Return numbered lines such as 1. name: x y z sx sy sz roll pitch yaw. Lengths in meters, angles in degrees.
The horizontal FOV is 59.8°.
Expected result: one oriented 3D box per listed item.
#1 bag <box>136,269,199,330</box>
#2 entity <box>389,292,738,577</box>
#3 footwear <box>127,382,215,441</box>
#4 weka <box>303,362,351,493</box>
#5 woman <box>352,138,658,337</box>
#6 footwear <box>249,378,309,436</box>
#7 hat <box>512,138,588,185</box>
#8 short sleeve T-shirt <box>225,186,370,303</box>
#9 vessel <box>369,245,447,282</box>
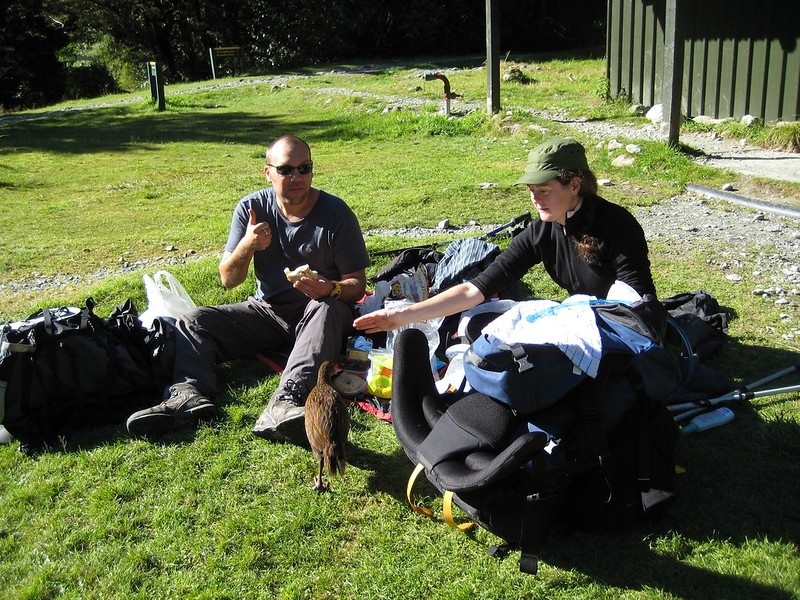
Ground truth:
1. bag: -1.856 0.009 5.556 0.270 0.428 0.418 -37 -10 13
2. entity: 0.869 0.530 3.702 1.496 0.844 1.223 -26 32 -34
3. footwear: -1.511 0.729 4.574 0.551 0.230 0.272 -16 23 -30
4. weka: -0.429 0.812 4.125 0.257 0.498 0.459 -5 19 -4
5. woman: 0.604 -0.278 4.445 1.536 1.220 1.297 -12 14 -19
6. footwear: -0.753 0.655 4.541 0.413 0.204 0.582 -43 -6 -13
7. hat: 0.944 -0.863 4.334 0.536 0.269 0.368 -11 10 -27
8. short sleeve T-shirt: -0.794 -0.382 5.318 1.132 0.931 0.600 5 15 5
9. vessel: 0.066 -0.319 5.845 0.458 0.178 0.402 -22 17 -23
